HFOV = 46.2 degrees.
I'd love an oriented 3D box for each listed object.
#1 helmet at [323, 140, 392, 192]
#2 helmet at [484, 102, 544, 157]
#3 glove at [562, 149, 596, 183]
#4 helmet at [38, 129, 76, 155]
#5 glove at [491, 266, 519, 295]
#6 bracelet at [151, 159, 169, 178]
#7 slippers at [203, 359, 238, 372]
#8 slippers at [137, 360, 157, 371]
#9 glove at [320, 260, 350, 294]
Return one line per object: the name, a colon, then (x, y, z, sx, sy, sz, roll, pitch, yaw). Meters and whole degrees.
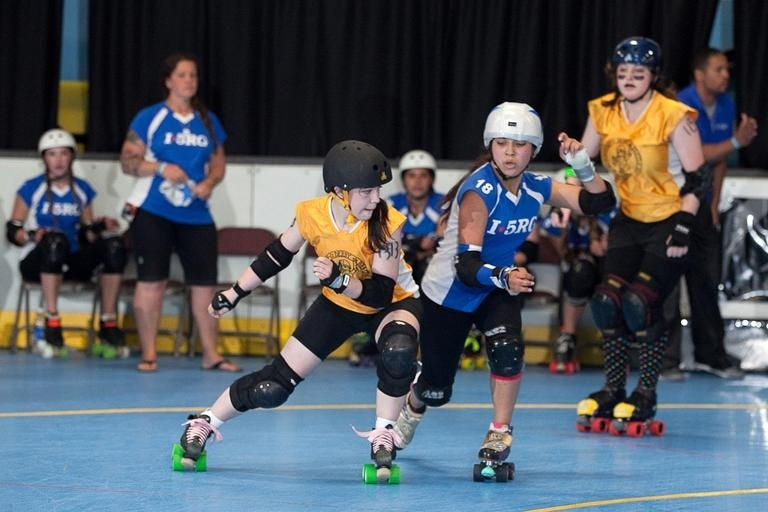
helmet: (-0.162, -0.579, 5.630, 0.352, 0.283, 0.283, 15, 17, 26)
helmet: (0.835, -0.829, 5.738, 0.287, 0.355, 0.361, 5, 13, 7)
glove: (1.282, -0.605, 5.930, 0.151, 0.247, 0.093, -31, 9, 8)
helmet: (-3.444, -1.210, 9.488, 0.238, 0.273, 0.324, -4, -21, -13)
glove: (0.730, 0.130, 5.517, 0.149, 0.124, 0.093, 2, 4, 21)
bracelet: (-2.122, -0.831, 8.598, 0.146, 0.146, 0.139, 1, 4, 6)
slippers: (-1.617, 1.084, 8.896, 0.359, 0.110, 0.138, -2, -1, 29)
slippers: (-2.317, 1.087, 8.820, 0.119, 0.041, 0.128, 2, 25, 1)
glove: (-0.302, 0.131, 5.452, 0.179, 0.142, 0.083, 22, 5, -38)
